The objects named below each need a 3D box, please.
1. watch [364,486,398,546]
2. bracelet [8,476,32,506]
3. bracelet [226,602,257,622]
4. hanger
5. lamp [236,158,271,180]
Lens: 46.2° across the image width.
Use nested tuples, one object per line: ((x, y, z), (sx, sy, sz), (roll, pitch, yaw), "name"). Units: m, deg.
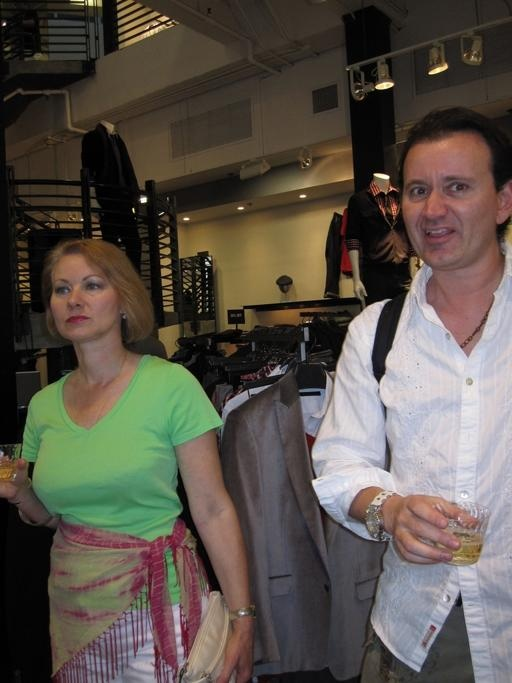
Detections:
((0.196, 0.277, 0.937), (0.063, 0.059, 0.039), (1, -6, -45), "watch")
((-0.549, 0.355, 1.409), (0.050, 0.054, 0.064), (-7, -5, -5), "bracelet")
((-0.034, 0.568, 1.281), (0.046, 0.029, 0.048), (9, -10, -36), "bracelet")
((-0.038, 0.067, 3.168), (0.545, 0.241, 0.617), (3, 10, 36), "hanger")
((-0.024, -2.374, 8.095), (0.324, 0.209, 0.234), (-6, 27, 40), "lamp")
